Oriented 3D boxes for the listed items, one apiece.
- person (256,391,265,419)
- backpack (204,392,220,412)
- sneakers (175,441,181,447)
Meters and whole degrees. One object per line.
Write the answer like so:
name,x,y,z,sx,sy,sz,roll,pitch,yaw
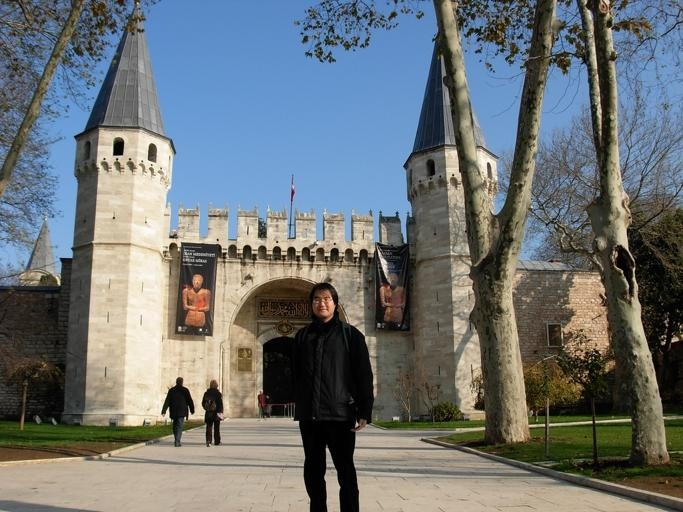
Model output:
person,-3.832,7.069,38.402,0.352,1.330,0.778,0,-14,-6
backpack,-3.650,4.098,22.524,0.447,0.665,0.376,5,-54,-8
sneakers,-4.472,5.172,22.101,0.159,0.162,0.077,-1,2,-38
